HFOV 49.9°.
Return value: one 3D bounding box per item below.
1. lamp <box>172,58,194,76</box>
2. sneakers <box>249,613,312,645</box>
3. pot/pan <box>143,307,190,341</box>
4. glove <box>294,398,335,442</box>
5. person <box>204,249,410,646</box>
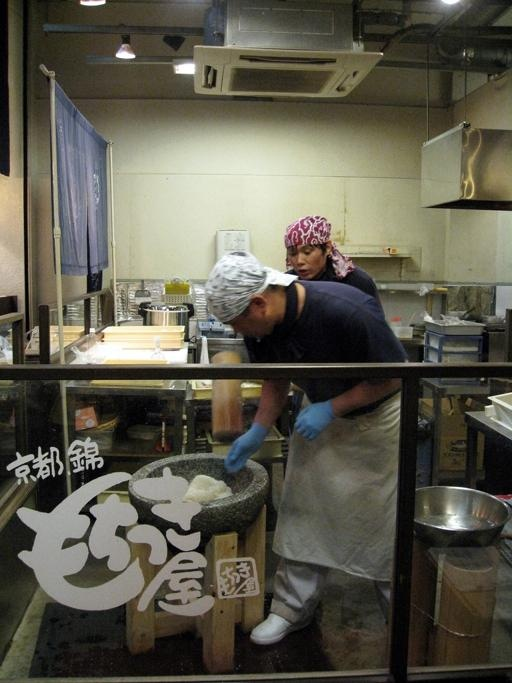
[{"bbox_3d":[-0.496,-1.877,3.784,0.107,0.098,0.186,-9,10,-32],"label":"lamp"},{"bbox_3d":[0.055,0.605,1.191,0.135,0.052,0.045,-2,8,-29],"label":"sneakers"},{"bbox_3d":[-0.714,-0.130,4.357,0.328,0.305,0.303,0,-1,-4],"label":"pot/pan"},{"bbox_3d":[0.123,0.174,1.182,0.091,0.081,0.024,-7,9,-27],"label":"glove"},{"bbox_3d":[0.128,0.247,1.271,0.508,0.865,0.313,0,-1,-17],"label":"person"}]
